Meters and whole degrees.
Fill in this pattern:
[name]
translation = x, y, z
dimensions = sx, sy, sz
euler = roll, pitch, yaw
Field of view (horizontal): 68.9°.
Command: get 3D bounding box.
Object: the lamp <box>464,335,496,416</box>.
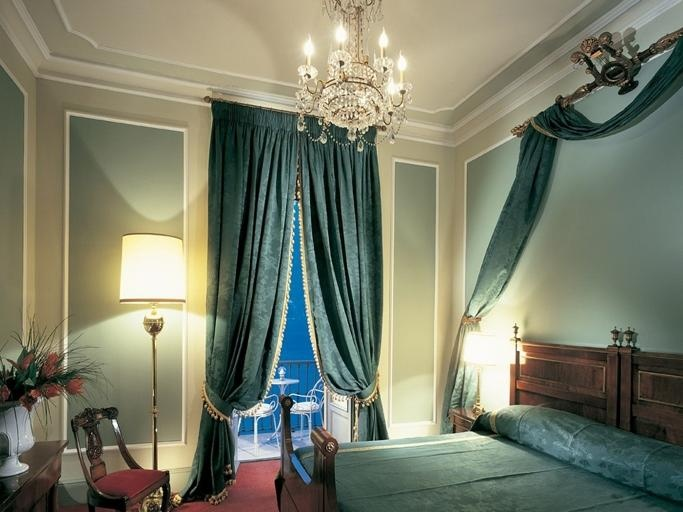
[lamp]
translation = 1.187, 1.019, 4.299
dimensions = 0.234, 0.670, 0.235
euler = 6, -11, -4
